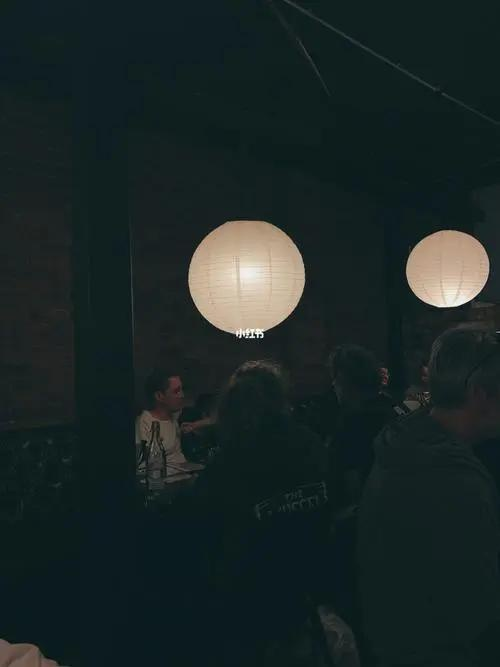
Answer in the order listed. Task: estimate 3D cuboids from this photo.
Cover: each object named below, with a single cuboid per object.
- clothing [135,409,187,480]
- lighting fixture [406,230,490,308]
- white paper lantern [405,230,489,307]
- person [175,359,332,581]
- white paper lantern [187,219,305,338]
[{"bbox_3d":[-0.435,0.539,3.308,0.229,0.315,0.111,-4,-21,-13],"label":"clothing"},{"bbox_3d":[0.994,-0.284,3.467,0.405,0.404,0.403,2,-6,30],"label":"lighting fixture"},{"bbox_3d":[0.996,-0.288,3.481,0.404,0.404,0.403,3,-6,31],"label":"white paper lantern"},{"bbox_3d":[0.029,0.649,3.553,0.824,0.993,0.280,-1,0,-8],"label":"person"},{"bbox_3d":[-0.004,-0.228,3.151,0.578,0.515,0.497,-1,0,-6],"label":"white paper lantern"}]
